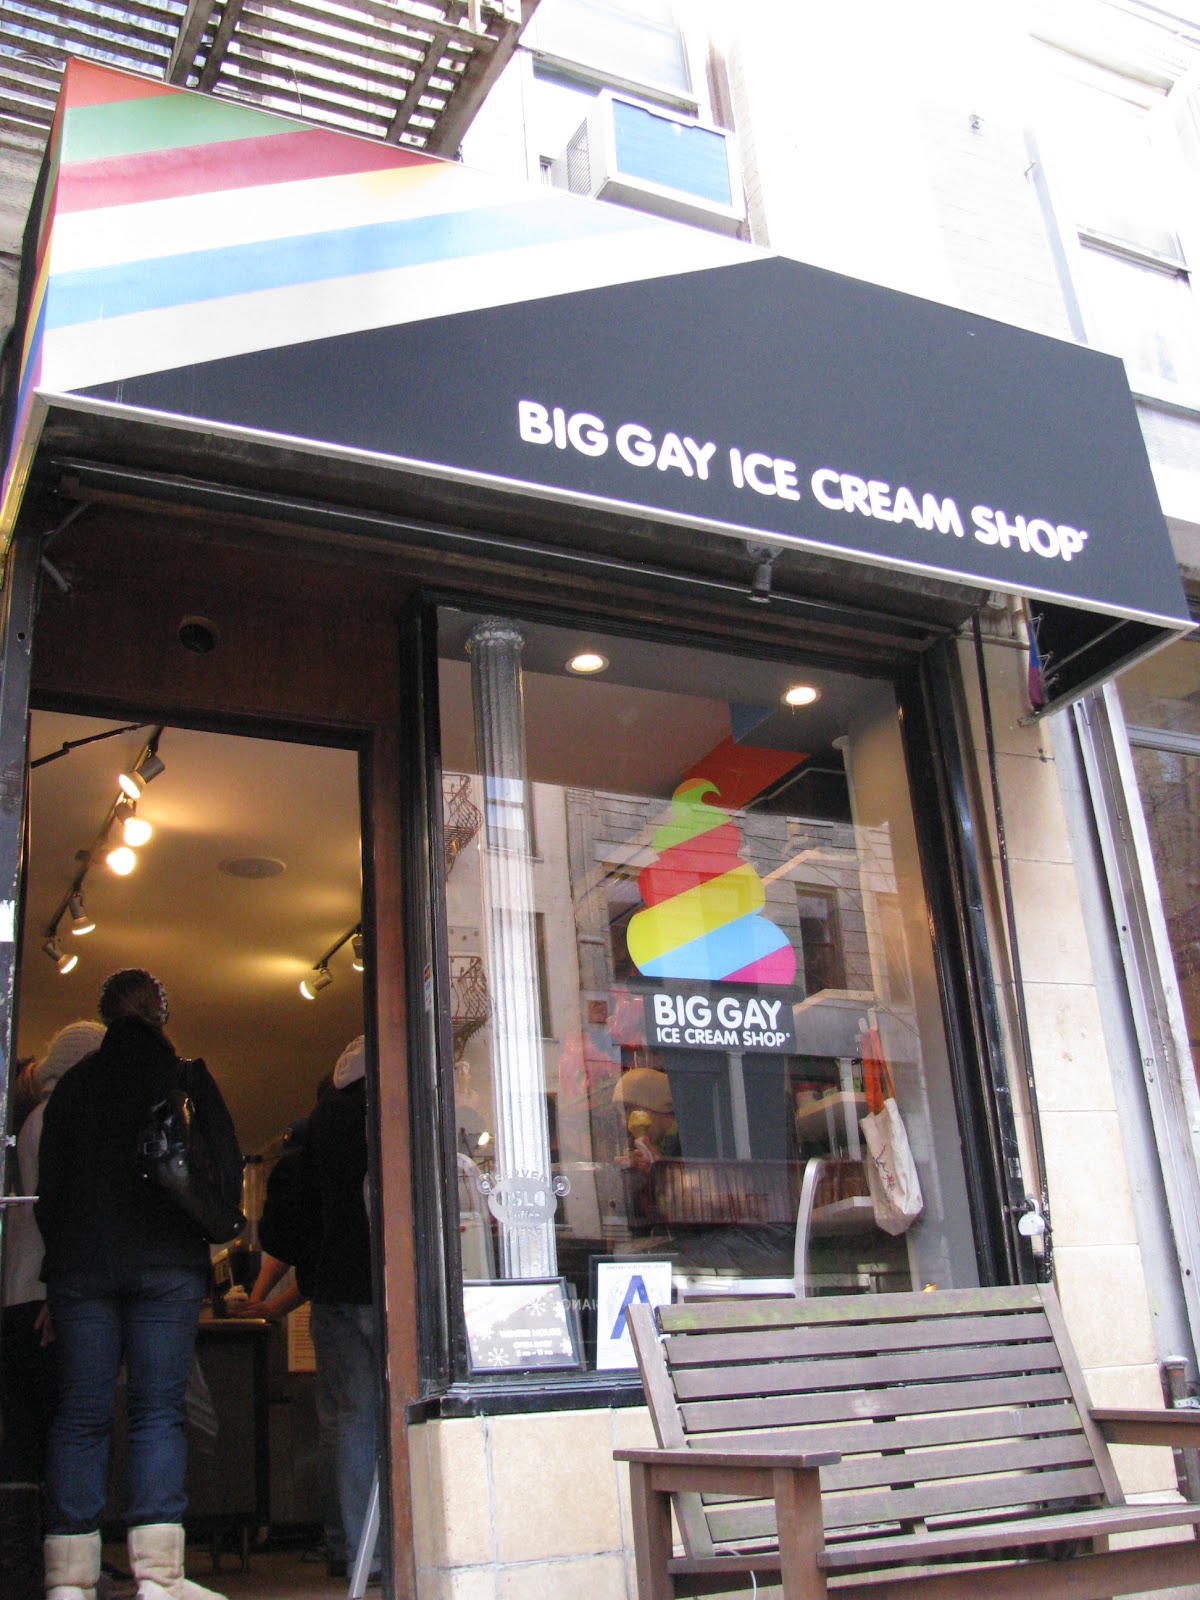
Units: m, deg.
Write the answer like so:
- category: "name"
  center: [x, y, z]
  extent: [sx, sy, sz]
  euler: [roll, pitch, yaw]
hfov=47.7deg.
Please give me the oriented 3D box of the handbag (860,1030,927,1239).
- category: "handbag"
  center: [0.756, 0.864, 3.587]
  extent: [0.158, 0.552, 0.049]
  euler: [6, -18, -31]

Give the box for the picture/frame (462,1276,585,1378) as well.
- category: "picture/frame"
  center: [-0.175, 1.141, 2.913]
  extent: [0.221, 0.156, 0.030]
  euler: [5, -37, -22]

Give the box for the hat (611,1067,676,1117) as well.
- category: "hat"
  center: [0.106, 0.700, 3.275]
  extent: [0.120, 0.113, 0.028]
  euler: [-5, -20, -34]

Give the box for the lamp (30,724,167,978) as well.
- category: "lamp"
  center: [-2.376, 0.295, 6.403]
  extent: [0.496, 0.398, 4.475]
  euler: [2, -16, -21]

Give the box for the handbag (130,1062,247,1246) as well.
- category: "handbag"
  center: [-0.970, 0.835, 3.232]
  extent: [0.243, 0.392, 0.217]
  euler: [1, -6, -6]
